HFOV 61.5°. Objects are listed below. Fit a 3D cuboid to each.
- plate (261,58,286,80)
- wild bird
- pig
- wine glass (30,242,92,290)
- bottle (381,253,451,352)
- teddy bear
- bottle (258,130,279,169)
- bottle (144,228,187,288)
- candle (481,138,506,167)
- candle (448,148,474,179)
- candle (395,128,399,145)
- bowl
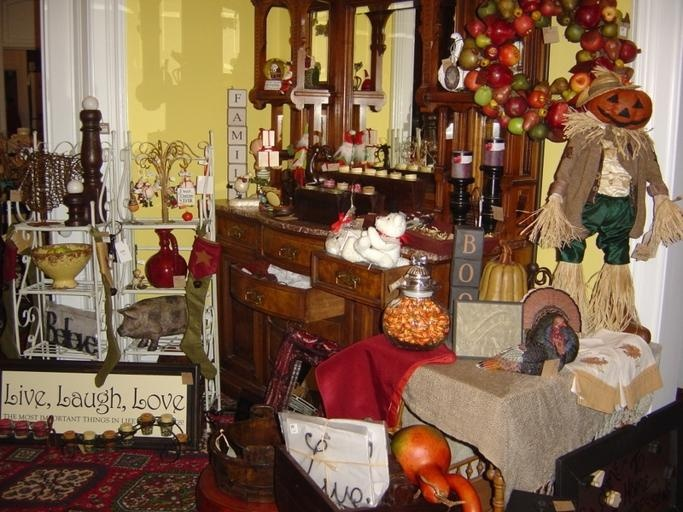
[{"bbox_3d":[-0.447,-1.261,3.901,0.161,0.147,0.128,-1,6,-8],"label":"plate"},{"bbox_3d":[0.714,0.269,2.228,0.347,0.200,0.334,7,17,23],"label":"wild bird"},{"bbox_3d":[-1.100,0.393,3.463,0.230,0.294,0.500,11,12,40],"label":"pig"},{"bbox_3d":[-1.555,0.044,3.203,0.290,0.273,0.273,-8,16,-33],"label":"wine glass"},{"bbox_3d":[0.297,0.175,2.237,0.259,0.362,0.255,3,9,0],"label":"bottle"},{"bbox_3d":[0.132,-0.086,2.576,0.303,0.256,0.286,7,16,36],"label":"teddy bear"},{"bbox_3d":[-0.491,-0.715,3.863,0.148,0.261,0.189,-1,6,-8],"label":"bottle"},{"bbox_3d":[-1.028,-0.001,3.522,0.302,0.459,0.303,1,5,0],"label":"bottle"},{"bbox_3d":[0.737,-0.496,2.770,0.118,0.134,0.123,-1,11,-3],"label":"candle"},{"bbox_3d":[0.599,-0.452,2.854,0.121,0.143,0.122,-6,13,-30],"label":"candle"},{"bbox_3d":[0.330,-0.715,3.423,0.017,0.081,0.060,-3,7,-27],"label":"candle"},{"bbox_3d":[-0.393,0.783,2.324,0.255,0.199,0.334,-1,6,-8],"label":"bowl"}]
